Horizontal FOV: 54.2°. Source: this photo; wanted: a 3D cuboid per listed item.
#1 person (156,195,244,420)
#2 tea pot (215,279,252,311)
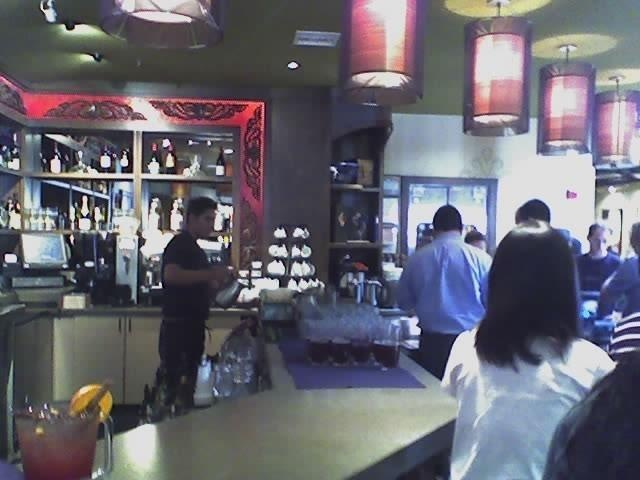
[{"bbox_3d":[-0.385,0.206,1.963,0.255,0.499,0.738,-4,8,-14],"label":"person"},{"bbox_3d":[-0.316,0.186,2.166,0.100,0.114,0.167,-3,8,-10],"label":"tea pot"}]
